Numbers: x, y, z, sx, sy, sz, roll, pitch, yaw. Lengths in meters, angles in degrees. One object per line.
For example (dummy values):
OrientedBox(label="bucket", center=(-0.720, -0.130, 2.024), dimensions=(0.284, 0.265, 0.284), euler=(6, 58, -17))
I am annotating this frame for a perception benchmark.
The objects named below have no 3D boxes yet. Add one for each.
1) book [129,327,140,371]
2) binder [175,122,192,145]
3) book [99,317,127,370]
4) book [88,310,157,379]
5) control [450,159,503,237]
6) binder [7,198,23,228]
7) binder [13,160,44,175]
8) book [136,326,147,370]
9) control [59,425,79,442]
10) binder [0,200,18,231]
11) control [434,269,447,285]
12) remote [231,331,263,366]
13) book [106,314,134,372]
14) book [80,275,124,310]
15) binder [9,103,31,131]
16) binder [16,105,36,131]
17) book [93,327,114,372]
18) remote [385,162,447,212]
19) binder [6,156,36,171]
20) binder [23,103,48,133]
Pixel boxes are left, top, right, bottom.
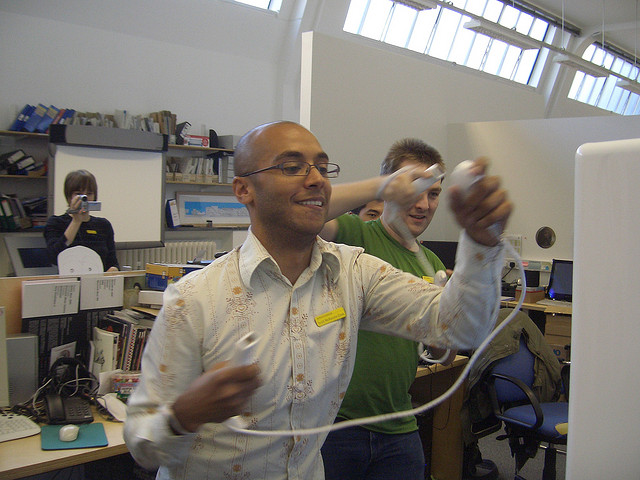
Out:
OrientedBox(label="book", center=(-0.980, 0.570, 2.573), dimensions=(0.031, 0.225, 0.032), euler=(5, -15, 18))
OrientedBox(label="binder", center=(-2.084, -1.619, 7.321), dimensions=(0.066, 0.280, 0.285), euler=(17, -1, -26))
OrientedBox(label="book", center=(-1.076, 0.546, 2.535), dimensions=(0.186, 0.267, 0.029), euler=(11, -4, 16))
OrientedBox(label="book", center=(-1.039, 0.583, 2.593), dimensions=(0.157, 0.236, 0.235), euler=(2, -13, 21))
OrientedBox(label="control", center=(0.346, -0.094, 1.026), dimensions=(0.059, 0.152, 0.108), euler=(-39, 17, -31))
OrientedBox(label="binder", center=(-3.711, -0.333, 5.993), dimensions=(0.056, 0.262, 0.249), euler=(-4, -5, -6))
OrientedBox(label="binder", center=(-3.701, -0.910, 6.147), dimensions=(0.184, 0.046, 0.180), euler=(-35, 17, -37))
OrientedBox(label="book", center=(-0.945, 0.563, 2.580), dimensions=(0.035, 0.248, 0.032), euler=(-2, -15, 41))
OrientedBox(label="control", center=(-1.065, 0.811, 2.064), dimensions=(0.072, 0.048, 0.097), euler=(-1, 6, -27))
OrientedBox(label="binder", center=(-3.783, -0.298, 5.913), dimensions=(0.064, 0.279, 0.270), euler=(-15, 39, -22))
OrientedBox(label="control", center=(0.409, 0.129, 1.669), dimensions=(0.041, 0.051, 0.054), euler=(0, 0, 4))
OrientedBox(label="remote", center=(-0.162, 0.237, 1.058), dimensions=(0.030, 0.035, 0.107), euler=(35, -16, -9))
OrientedBox(label="book", center=(-1.075, 0.534, 2.552), dimensions=(0.049, 0.222, 0.207), euler=(9, -5, -33))
OrientedBox(label="book", center=(-1.195, 0.281, 2.703), dimensions=(0.195, 0.148, 0.114), euler=(1, -4, -18))
OrientedBox(label="binder", center=(-3.751, -1.530, 6.100), dimensions=(0.065, 0.275, 0.260), euler=(38, -12, -38))
OrientedBox(label="binder", center=(-3.703, -1.514, 6.114), dimensions=(0.060, 0.257, 0.260), euler=(27, -42, -8))
OrientedBox(label="book", center=(-1.128, 0.583, 2.530), dimensions=(0.174, 0.245, 0.030), euler=(-3, -7, 26))
OrientedBox(label="remote", center=(0.293, -0.166, 1.522), dimensions=(0.048, 0.157, 0.155), euler=(46, -28, -5))
OrientedBox(label="binder", center=(-3.728, -0.956, 6.108), dimensions=(0.177, 0.046, 0.184), euler=(-7, 22, 43))
OrientedBox(label="binder", center=(-3.611, -1.543, 6.176), dimensions=(0.089, 0.311, 0.224), euler=(38, -8, -32))
